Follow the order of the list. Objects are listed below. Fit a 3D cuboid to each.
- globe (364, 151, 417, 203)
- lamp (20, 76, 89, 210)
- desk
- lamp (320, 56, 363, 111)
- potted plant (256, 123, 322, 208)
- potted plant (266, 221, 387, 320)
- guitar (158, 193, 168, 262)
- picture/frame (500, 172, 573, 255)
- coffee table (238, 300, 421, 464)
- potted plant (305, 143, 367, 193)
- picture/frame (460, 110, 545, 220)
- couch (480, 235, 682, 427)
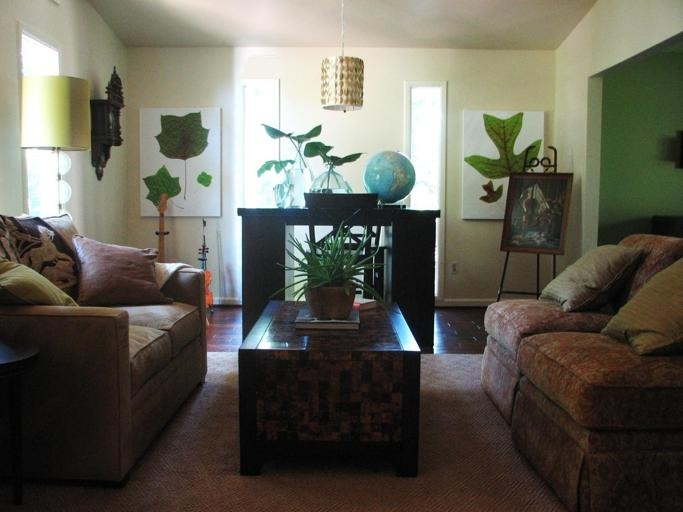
[{"bbox_3d":[0.332,-0.565,4.264,0.335,0.374,0.358,-5,3,-22],"label":"globe"},{"bbox_3d":[-2.088,-0.754,4.136,0.413,1.102,0.388,-1,19,-22],"label":"lamp"},{"bbox_3d":[-0.013,0.129,3.550,0.952,0.892,0.394,0,5,0],"label":"desk"},{"bbox_3d":[0.005,-1.291,4.292,0.295,0.373,0.324,2,4,13],"label":"lamp"},{"bbox_3d":[-0.336,-0.775,4.895,0.401,0.540,0.499,-9,-4,-39],"label":"potted plant"},{"bbox_3d":[-0.056,0.128,2.908,0.494,0.410,0.516,-4,-2,27],"label":"potted plant"},{"bbox_3d":[-1.775,-0.260,5.581,0.054,0.515,0.176,0,12,-31],"label":"guitar"},{"bbox_3d":[1.781,-0.389,5.125,0.644,0.937,0.065,4,-7,24],"label":"picture/frame"},{"bbox_3d":[-0.067,0.665,3.243,0.929,0.646,1.396,1,6,-7],"label":"coffee table"},{"bbox_3d":[-0.063,-0.660,4.393,0.442,0.540,0.503,-1,8,-4],"label":"potted plant"},{"bbox_3d":[1.571,-0.933,5.522,0.998,1.476,0.061,0,8,-1],"label":"picture/frame"},{"bbox_3d":[1.292,0.407,3.340,0.928,1.025,0.945,-1,-1,5],"label":"couch"}]
